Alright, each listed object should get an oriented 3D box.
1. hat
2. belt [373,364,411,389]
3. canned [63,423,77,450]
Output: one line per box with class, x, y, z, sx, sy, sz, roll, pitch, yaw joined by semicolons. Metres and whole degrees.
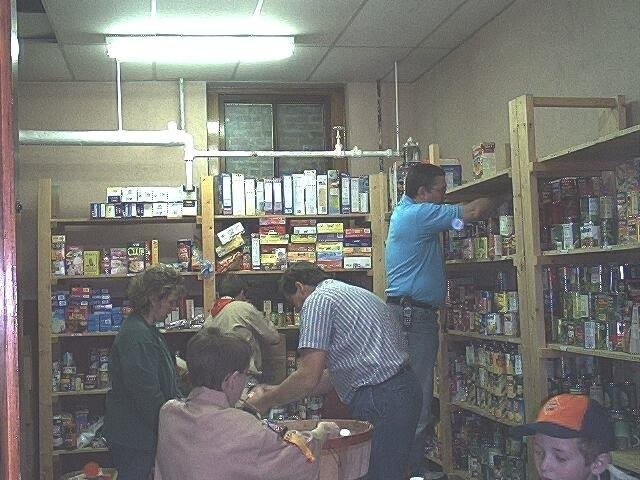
hat;1.101;0.778;2.667;0.275;0.156;0.200;8;-14;0
belt;0.368;0.670;2.977;0.141;0.037;0.108;-10;2;-2
canned;-2.323;1.807;5.674;0.143;0.247;0.103;-3;-1;37
